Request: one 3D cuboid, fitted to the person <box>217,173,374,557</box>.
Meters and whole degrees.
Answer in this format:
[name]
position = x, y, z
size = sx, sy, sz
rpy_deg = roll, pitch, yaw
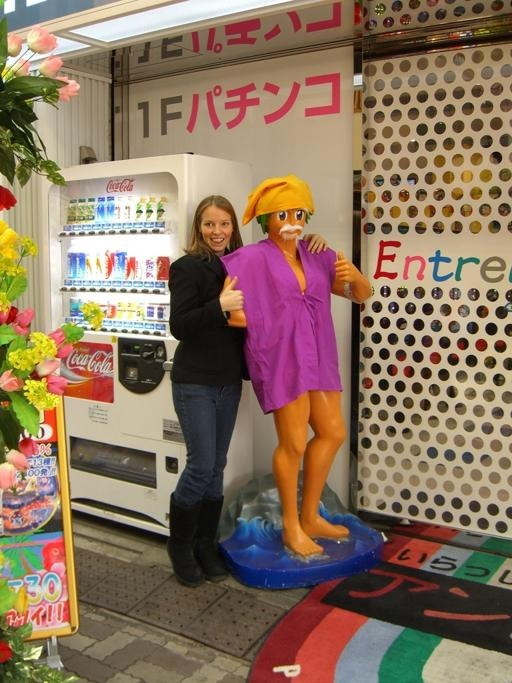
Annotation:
[person]
position = 0.189, 0.118, 2.468
size = 0.675, 1.716, 0.324
rpy_deg = -2, 2, -16
